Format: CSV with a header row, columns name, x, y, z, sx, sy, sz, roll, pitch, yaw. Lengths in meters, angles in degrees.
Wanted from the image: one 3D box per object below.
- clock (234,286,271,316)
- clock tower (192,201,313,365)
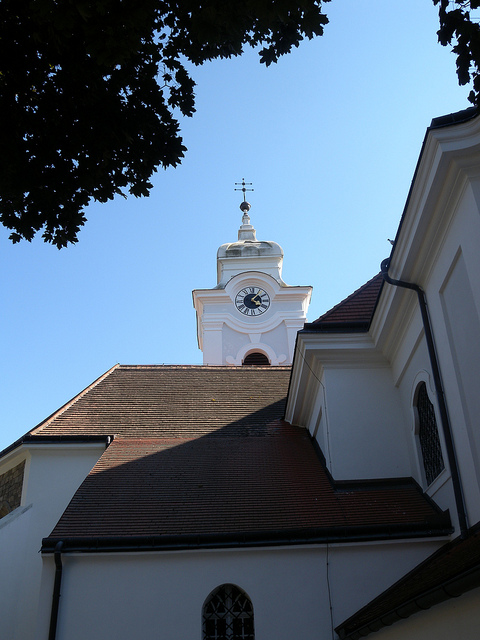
name,x,y,z,sx,sy,sz,roll,pitch,yaw
clock,0.634,-0.939,30.290,1.866,1.986,0.187,3,-47,-1
clock tower,0.583,-2.772,32.030,5.217,13.794,1.423,3,-42,-1
